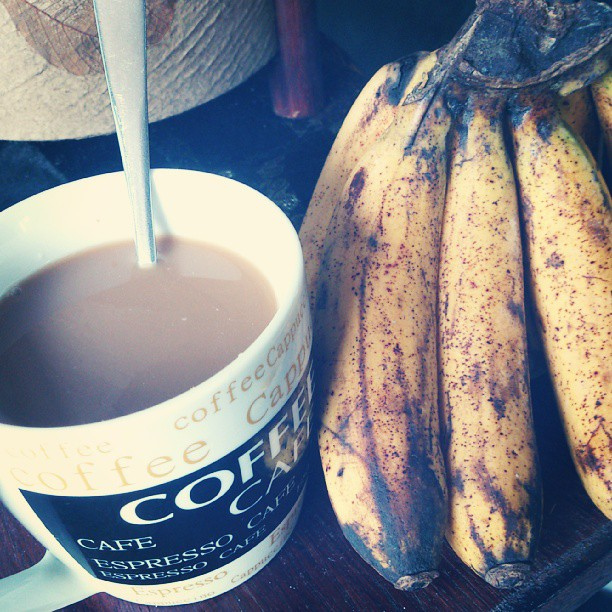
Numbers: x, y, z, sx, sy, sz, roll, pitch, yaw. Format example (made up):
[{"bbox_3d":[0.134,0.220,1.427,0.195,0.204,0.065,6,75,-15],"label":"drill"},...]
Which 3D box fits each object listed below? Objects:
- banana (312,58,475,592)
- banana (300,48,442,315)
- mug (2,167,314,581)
[{"bbox_3d":[0.093,-0.019,0.591,0.093,0.134,0.447,14,76,-17],"label":"banana"},{"bbox_3d":[0.053,-0.097,0.575,0.070,0.050,0.232,19,88,44],"label":"banana"},{"bbox_3d":[-0.083,0.020,0.558,0.179,0.216,0.323,4,50,6],"label":"mug"}]
